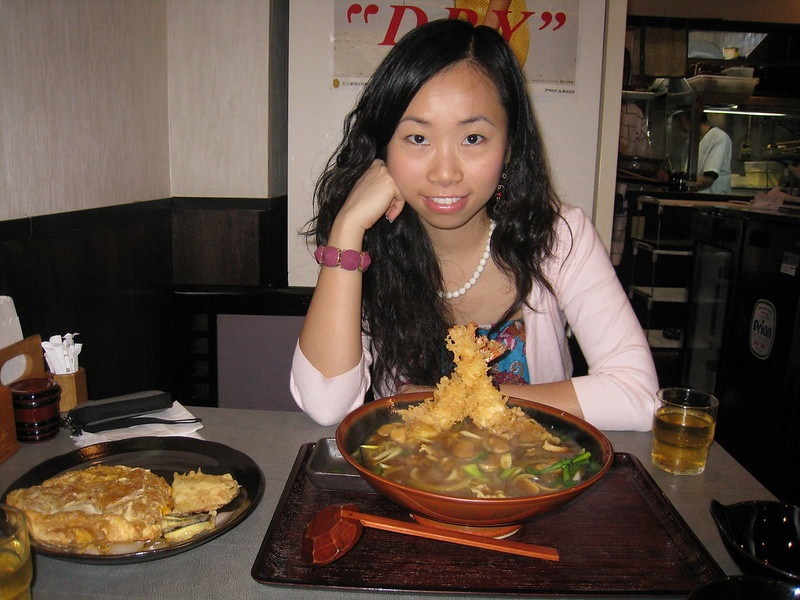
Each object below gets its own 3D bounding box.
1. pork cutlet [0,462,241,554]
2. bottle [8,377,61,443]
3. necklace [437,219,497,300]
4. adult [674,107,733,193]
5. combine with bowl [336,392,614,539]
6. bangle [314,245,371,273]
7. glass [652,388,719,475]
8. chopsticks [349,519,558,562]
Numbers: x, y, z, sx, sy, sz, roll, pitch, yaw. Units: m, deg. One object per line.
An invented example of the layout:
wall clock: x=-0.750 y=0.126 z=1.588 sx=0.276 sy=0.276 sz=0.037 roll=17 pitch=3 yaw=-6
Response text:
pork cutlet: x=-0.566 y=0.440 z=1.269 sx=0.285 sy=0.042 sz=0.204 roll=8 pitch=9 yaw=-17
bottle: x=-0.913 y=0.276 z=1.562 sx=0.134 sy=0.149 sz=0.138 roll=0 pitch=5 yaw=-4
necklace: x=0.262 y=-0.128 z=2.166 sx=0.034 sy=0.261 sz=0.203 roll=24 pitch=-3 yaw=-29
adult: x=2.881 y=-1.439 z=5.891 sx=0.439 sy=0.797 sz=0.581 roll=-14 pitch=18 yaw=12
combine with bowl: x=0.161 y=0.375 z=1.384 sx=0.606 sy=0.171 sz=0.641 roll=0 pitch=8 yaw=-9
bangle: x=-0.179 y=-0.127 z=1.875 sx=0.116 sy=0.056 sz=0.090 roll=4 pitch=3 yaw=-14
glass: x=0.694 y=0.331 z=1.530 sx=0.161 sy=0.198 sz=0.170 roll=4 pitch=5 yaw=42
chopsticks: x=0.100 y=0.458 z=1.194 sx=0.410 sy=0.031 sz=0.031 roll=8 pitch=41 yaw=7
